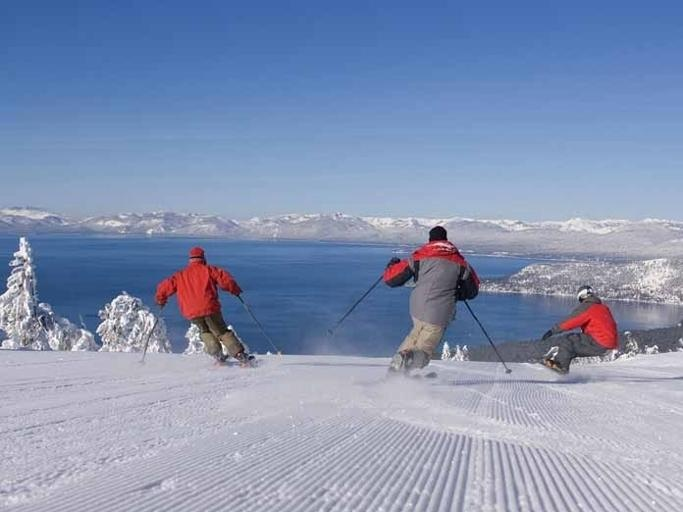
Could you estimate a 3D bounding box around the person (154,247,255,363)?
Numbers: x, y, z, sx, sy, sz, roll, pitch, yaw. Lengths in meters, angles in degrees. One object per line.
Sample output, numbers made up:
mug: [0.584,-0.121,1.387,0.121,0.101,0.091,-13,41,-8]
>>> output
person: [-2.264,0.750,11.093,1.599,1.998,0.571,-24,3,4]

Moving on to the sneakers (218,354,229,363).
sneakers: [-2.040,1.742,10.747,0.149,0.154,0.043,0,-18,-5]

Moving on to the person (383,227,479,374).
person: [1.321,0.629,9.332,1.344,2.155,0.802,-1,-6,8]

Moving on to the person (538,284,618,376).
person: [4.123,1.281,10.952,1.176,1.589,0.951,-2,-6,15]

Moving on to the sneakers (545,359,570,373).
sneakers: [3.770,1.969,11.040,0.246,0.157,0.510,-15,1,5]

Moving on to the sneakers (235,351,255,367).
sneakers: [-1.615,1.735,10.579,0.336,0.119,0.240,5,-1,40]

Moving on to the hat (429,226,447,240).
hat: [1.398,-0.323,9.228,0.202,0.181,0.245,1,-1,0]

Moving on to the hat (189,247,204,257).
hat: [-2.491,-0.067,10.710,0.205,0.182,0.257,3,11,14]
